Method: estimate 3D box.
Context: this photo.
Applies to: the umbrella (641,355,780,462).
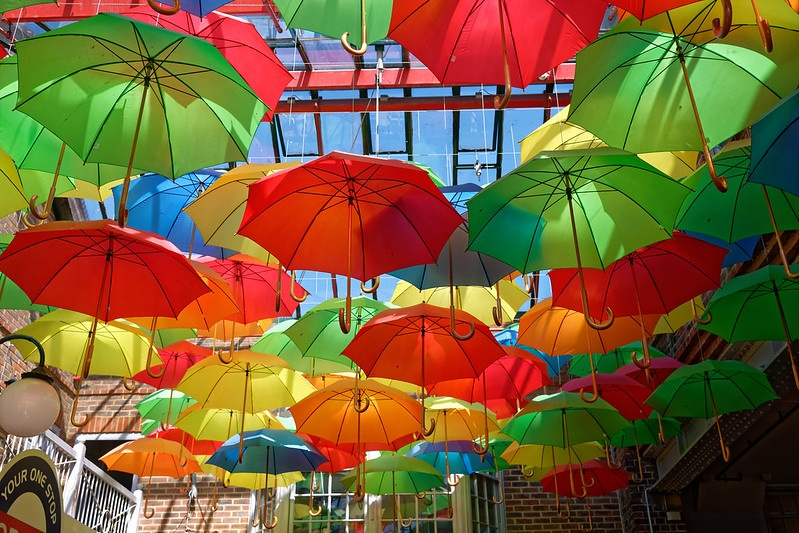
[{"bbox_3d":[3.205,1.291,7.899,1.085,0.895,1.107,23,-46,-24],"label":"umbrella"}]
